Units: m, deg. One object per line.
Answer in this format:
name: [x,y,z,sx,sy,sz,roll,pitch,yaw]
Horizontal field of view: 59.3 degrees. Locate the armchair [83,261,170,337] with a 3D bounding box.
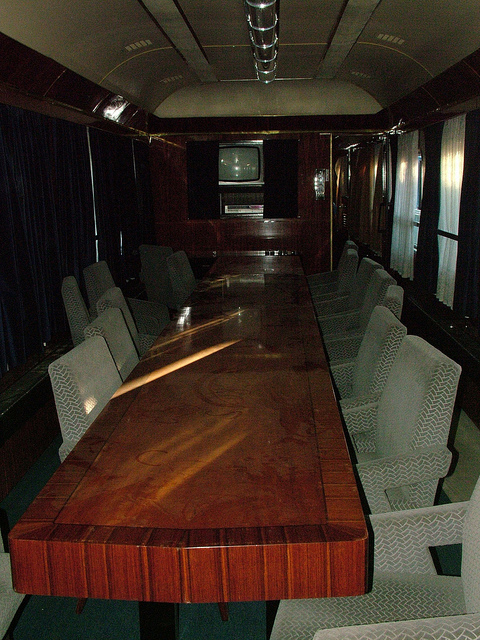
armchair: [-0.987,-0.123,3.792,0.653,0.775,0.585,-3,18,4]

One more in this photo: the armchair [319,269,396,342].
armchair: [0.808,-0.079,3.263,0.480,0.497,0.620,20,-3,-12]

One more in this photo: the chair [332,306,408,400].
chair: [0.681,0.179,2.229,0.307,0.534,0.289,1,40,-2]

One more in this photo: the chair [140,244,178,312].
chair: [-0.898,-0.515,5.066,0.333,0.684,0.360,17,10,19]
